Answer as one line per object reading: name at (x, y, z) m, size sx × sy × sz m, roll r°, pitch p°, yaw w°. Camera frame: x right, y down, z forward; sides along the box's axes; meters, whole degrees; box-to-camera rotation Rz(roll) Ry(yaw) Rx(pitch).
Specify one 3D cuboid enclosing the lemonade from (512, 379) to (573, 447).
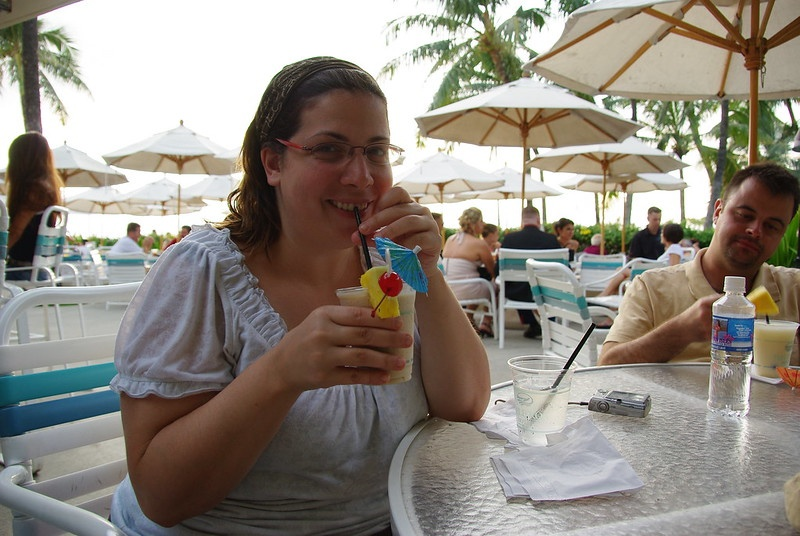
lemonade at (0.573, 0.568, 2.339) m, size 0.238 × 0.251 × 0.229 m, roll 3°, pitch -3°, yaw -24°

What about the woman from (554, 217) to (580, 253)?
woman at (2.977, -0.568, 10.318) m, size 0.375 × 0.576 × 0.377 m, roll 3°, pitch 9°, yaw -33°

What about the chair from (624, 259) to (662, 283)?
chair at (2.294, 0.025, 5.517) m, size 0.294 × 0.317 × 0.249 m, roll -6°, pitch 9°, yaw -35°

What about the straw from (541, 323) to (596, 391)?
straw at (0.888, 0.460, 3.035) m, size 0.049 × 0.399 × 0.048 m, roll 32°, pitch -4°, yaw -24°

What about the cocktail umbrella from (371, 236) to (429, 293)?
cocktail umbrella at (0.044, -0.033, 2.131) m, size 0.252 × 0.105 × 0.259 m, roll 10°, pitch -26°, yaw 1°

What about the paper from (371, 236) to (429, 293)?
paper at (-0.012, -0.014, 2.202) m, size 0.213 × 0.086 × 0.197 m, roll 34°, pitch 17°, yaw -23°

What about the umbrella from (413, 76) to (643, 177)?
umbrella at (1.439, -1.809, 6.990) m, size 1.590 × 0.718 × 1.458 m, roll 0°, pitch -6°, yaw 1°

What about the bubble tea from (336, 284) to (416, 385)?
bubble tea at (-0.031, 0.253, 2.171) m, size 0.358 × 0.363 × 0.343 m, roll -2°, pitch -9°, yaw -2°

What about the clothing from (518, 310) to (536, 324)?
clothing at (1.681, 0.646, 7.700) m, size 0.192 × 0.203 × 0.197 m, roll -2°, pitch 3°, yaw 24°

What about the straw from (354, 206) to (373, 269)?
straw at (-0.155, -0.120, 2.392) m, size 0.046 × 0.328 × 0.043 m, roll -10°, pitch 2°, yaw -3°

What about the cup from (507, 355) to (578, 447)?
cup at (0.526, 0.525, 2.391) m, size 0.356 × 0.356 × 0.304 m, roll -1°, pitch 0°, yaw -16°

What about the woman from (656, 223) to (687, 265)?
woman at (3.772, -0.333, 8.083) m, size 0.342 × 0.589 × 0.595 m, roll 1°, pitch 18°, yaw 35°

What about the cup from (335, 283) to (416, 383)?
cup at (-0.036, 0.254, 2.188) m, size 0.356 × 0.353 × 0.341 m, roll -2°, pitch -11°, yaw 0°

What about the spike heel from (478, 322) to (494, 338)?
spike heel at (1.127, 0.836, 7.697) m, size 0.105 × 0.145 × 0.294 m, roll 3°, pitch 14°, yaw 29°

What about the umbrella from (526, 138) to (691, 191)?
umbrella at (3.104, -1.709, 8.864) m, size 2.081 × 0.646 × 2.125 m, roll 2°, pitch 2°, yaw 22°

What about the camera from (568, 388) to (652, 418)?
camera at (0.913, 0.551, 2.432) m, size 0.204 × 0.059 × 0.121 m, roll 2°, pitch -1°, yaw 23°

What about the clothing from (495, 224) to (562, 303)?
clothing at (1.662, -0.090, 7.616) m, size 0.830 × 1.284 × 0.975 m, roll 1°, pitch 2°, yaw 7°

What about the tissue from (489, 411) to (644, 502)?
tissue at (0.574, 0.692, 2.097) m, size 0.464 × 0.201 × 0.329 m, roll 0°, pitch 1°, yaw -15°

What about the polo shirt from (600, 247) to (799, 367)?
polo shirt at (1.712, 0.229, 3.294) m, size 1.101 × 0.804 × 0.373 m, roll 1°, pitch -13°, yaw 10°

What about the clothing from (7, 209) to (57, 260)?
clothing at (-3.333, -0.232, 5.156) m, size 0.299 × 0.342 × 0.427 m, roll 6°, pitch 2°, yaw 34°

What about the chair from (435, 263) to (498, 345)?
chair at (0.859, 0.381, 7.609) m, size 0.871 × 1.072 × 0.775 m, roll -3°, pitch 0°, yaw -11°

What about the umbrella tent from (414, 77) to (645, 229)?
umbrella tent at (1.522, -1.378, 6.843) m, size 1.978 × 1.323 × 1.795 m, roll 3°, pitch 3°, yaw -24°
